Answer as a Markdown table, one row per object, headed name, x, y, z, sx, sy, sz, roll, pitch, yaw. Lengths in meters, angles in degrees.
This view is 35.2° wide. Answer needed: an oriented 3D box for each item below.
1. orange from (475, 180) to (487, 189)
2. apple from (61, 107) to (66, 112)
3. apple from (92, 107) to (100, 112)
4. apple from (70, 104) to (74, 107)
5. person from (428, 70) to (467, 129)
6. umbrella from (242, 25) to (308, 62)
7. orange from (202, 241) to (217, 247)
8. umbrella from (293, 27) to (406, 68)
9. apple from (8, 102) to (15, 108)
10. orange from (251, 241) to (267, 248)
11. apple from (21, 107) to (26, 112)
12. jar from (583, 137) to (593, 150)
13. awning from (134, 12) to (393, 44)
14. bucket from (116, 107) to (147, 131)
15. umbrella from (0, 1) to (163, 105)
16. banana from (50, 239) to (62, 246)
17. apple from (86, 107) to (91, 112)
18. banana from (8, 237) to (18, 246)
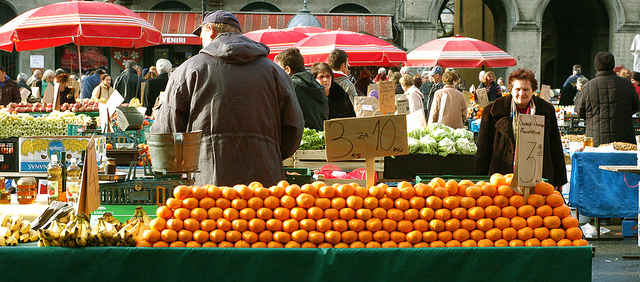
| name | x | y | z | sx | sy | sz | roll | pitch | yaw |
| --- | --- | --- | --- | --- | --- | --- | --- | --- | --- |
| orange | 4.808 | 1.264 | 30.221 | 0.249 | 0.160 | 0.174 | -6 | 0 | -1 |
| apple | -8.819 | -1.078 | 34.619 | 0.151 | 0.118 | 0.139 | 2 | -13 | -8 |
| apple | -7.705 | -1.068 | 34.601 | 0.176 | 0.151 | 0.162 | -3 | 1 | -29 |
| apple | -8.592 | -1.235 | 34.853 | 0.150 | 0.070 | 0.138 | -4 | 1 | 8 |
| person | 4.558 | -1.486 | 35.858 | 1.270 | 1.883 | 0.545 | -3 | 1 | 5 |
| umbrella | -1.506 | -3.362 | 35.361 | 2.640 | 0.773 | 2.400 | -1 | 2 | 2 |
| orange | -3.276 | 3.039 | 29.904 | 0.209 | 0.109 | 0.207 | -2 | -9 | 41 |
| umbrella | 1.280 | -3.424 | 37.422 | 2.388 | 0.675 | 2.344 | 2 | 0 | -36 |
| apple | -10.655 | -1.233 | 34.817 | 0.235 | 0.175 | 0.178 | 15 | 32 | -9 |
| orange | -1.818 | 3.057 | 29.914 | 0.238 | 0.112 | 0.233 | 0 | -5 | 36 |
| apple | -10.075 | -1.056 | 34.237 | 0.139 | 0.151 | 0.046 | -3 | 1 | -18 |
| jar | 9.146 | 0.037 | 34.383 | 0.409 | 0.374 | 0.384 | 0 | 0 | 0 |
| awning | -2.626 | -5.362 | 46.651 | 12.523 | 1.717 | 1.422 | -1 | -43 | -18 |
| bucket | -6.145 | -0.752 | 32.749 | 0.970 | 0.604 | 0.764 | 0 | -4 | 1 |
| umbrella | -8.685 | -3.079 | 36.455 | 4.739 | 2.633 | 4.705 | -2 | 3 | -18 |
| banana | -7.790 | 2.983 | 29.792 | 0.314 | 0.169 | 0.009 | -2 | 1 | 0 |
| apple | -7.946 | -1.067 | 34.585 | 0.152 | 0.150 | 0.066 | -3 | 1 | -12 |
| banana | -9.145 | 2.973 | 30.013 | 0.193 | 0.221 | 0.179 | -22 | -16 | -12 |
